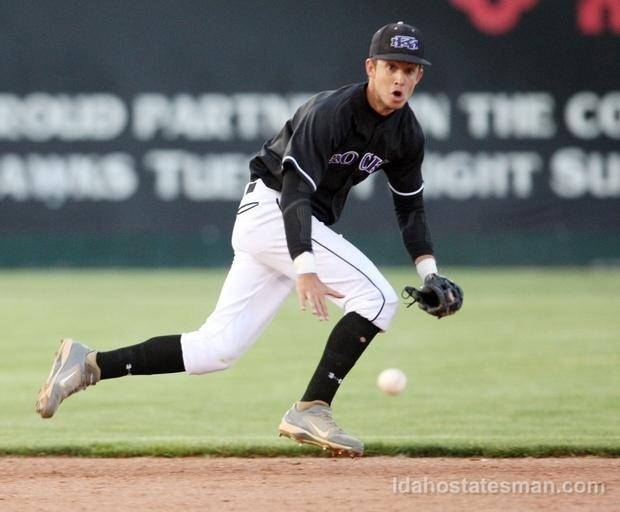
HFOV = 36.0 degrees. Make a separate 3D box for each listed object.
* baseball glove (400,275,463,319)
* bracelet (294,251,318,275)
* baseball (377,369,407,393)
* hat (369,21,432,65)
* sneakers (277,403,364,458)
[{"bbox_3d":[0.639,0.176,4.966,0.272,0.136,0.205,-2,19,25],"label":"baseball glove"},{"bbox_3d":[-0.016,0.038,4.692,0.097,0.091,0.111,-10,-6,-6],"label":"bracelet"},{"bbox_3d":[0.462,0.697,5.310,0.154,0.137,0.137,4,44,18],"label":"baseball"},{"bbox_3d":[0.465,-1.062,4.792,0.276,0.211,0.366,6,9,-10],"label":"hat"},{"bbox_3d":[0.064,0.862,4.786,0.419,0.275,0.152,0,8,3],"label":"sneakers"}]
